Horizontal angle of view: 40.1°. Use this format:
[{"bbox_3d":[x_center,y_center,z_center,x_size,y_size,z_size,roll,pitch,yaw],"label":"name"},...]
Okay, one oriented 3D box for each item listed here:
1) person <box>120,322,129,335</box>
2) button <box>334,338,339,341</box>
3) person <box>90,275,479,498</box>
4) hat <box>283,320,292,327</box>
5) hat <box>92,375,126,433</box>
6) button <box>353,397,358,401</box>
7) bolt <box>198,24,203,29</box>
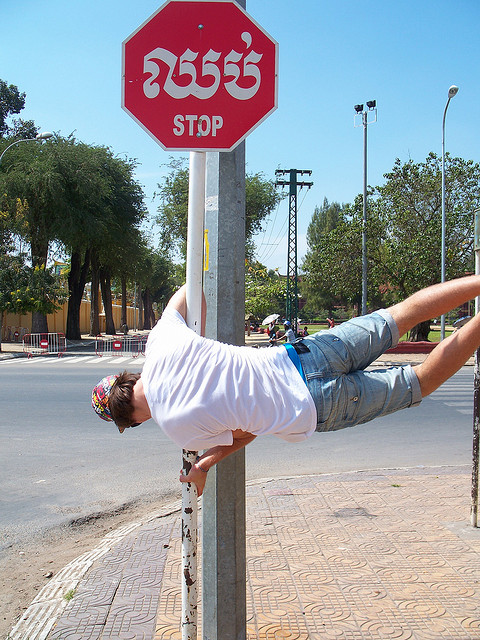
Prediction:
[{"bbox_3d":[-9.769,0.738,54.629,0.567,1.245,0.833,-1,3,6],"label":"person"},{"bbox_3d":[0.363,0.074,2.464,0.014,0.009,0.009,-1,0,-17],"label":"button"},{"bbox_3d":[0.166,0.341,2.623,1.151,0.901,0.355,-13,-29,1],"label":"person"},{"bbox_3d":[1.554,0.077,21.439,0.196,0.110,0.317,10,-6,19],"label":"hat"},{"bbox_3d":[-0.541,0.350,2.654,0.118,0.277,0.425,0,0,-11],"label":"hat"},{"bbox_3d":[0.423,0.288,2.388,0.018,0.012,0.004,-1,1,-39],"label":"button"},{"bbox_3d":[-0.140,-1.010,2.263,0.015,0.015,0.002,0,1,-3],"label":"bolt"}]
